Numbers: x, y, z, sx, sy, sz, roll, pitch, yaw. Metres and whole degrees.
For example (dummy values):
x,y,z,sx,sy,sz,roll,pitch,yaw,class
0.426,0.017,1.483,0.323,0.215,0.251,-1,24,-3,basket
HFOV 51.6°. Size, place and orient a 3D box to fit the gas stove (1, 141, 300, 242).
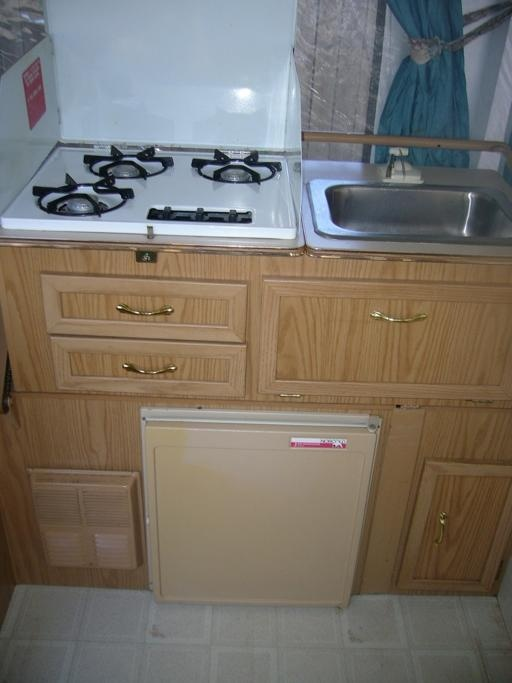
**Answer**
x,y,z,sx,sy,sz,roll,pitch,yaw,class
-0.219,-0.360,1.177,0.603,0.060,0.555,2,33,-2,gas stove
